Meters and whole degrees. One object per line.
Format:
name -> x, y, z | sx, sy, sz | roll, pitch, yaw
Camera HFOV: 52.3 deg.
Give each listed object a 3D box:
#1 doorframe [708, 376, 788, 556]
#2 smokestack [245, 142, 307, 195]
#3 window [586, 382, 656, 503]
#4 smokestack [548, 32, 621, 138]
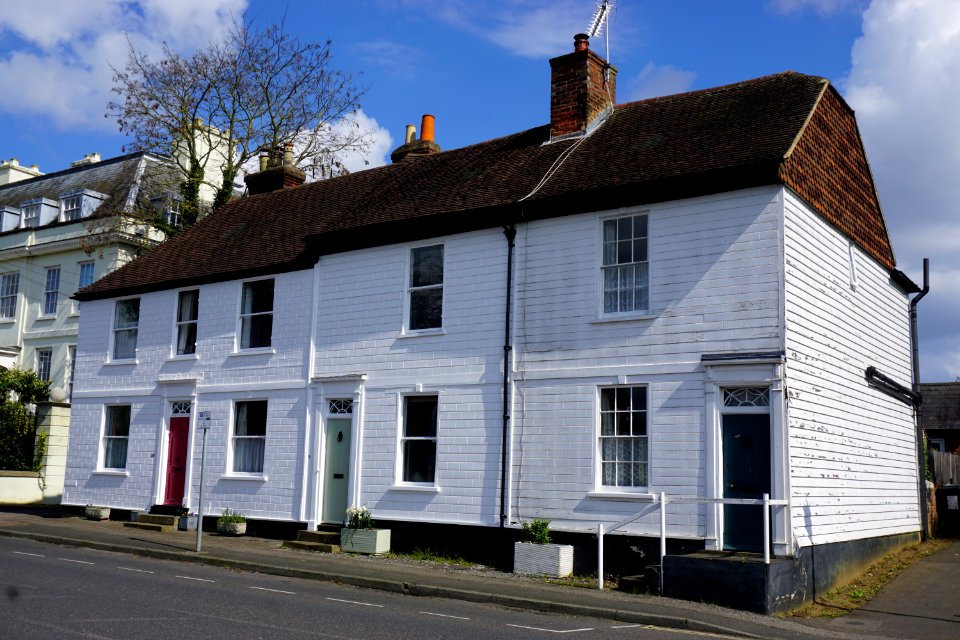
doorframe -> 6.053, 3.346, 22.171 | 1.367, 4.027, 0.453 | 0, 3, 3
smokestack -> -7.347, -5.472, 35.047 | 2.058, 1.747, 1.171 | -4, -9, 32
window -> 3.402, 2.779, 23.228 | 1.268, 2.421, 0.525 | 2, 0, 15
smokestack -> 2.898, -6.531, 27.764 | 2.001, 2.879, 1.770 | -2, 2, -37
